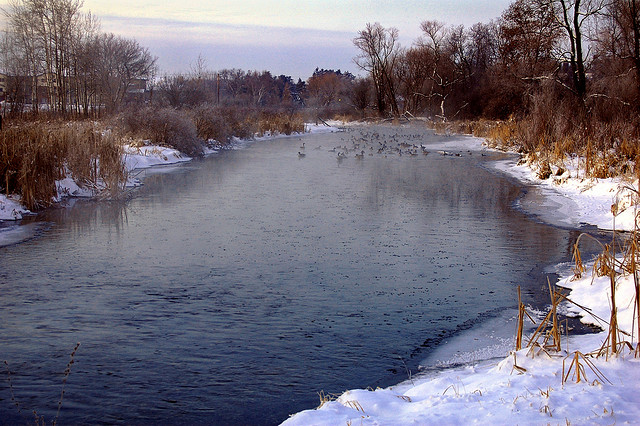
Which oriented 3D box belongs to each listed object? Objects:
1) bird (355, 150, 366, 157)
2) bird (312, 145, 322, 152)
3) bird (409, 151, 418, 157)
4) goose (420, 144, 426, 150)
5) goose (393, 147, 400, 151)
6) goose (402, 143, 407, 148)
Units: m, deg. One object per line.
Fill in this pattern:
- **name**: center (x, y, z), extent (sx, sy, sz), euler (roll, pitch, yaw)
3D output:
- **bird**: center (2.066, -2.916, 34.059), extent (0.513, 0.407, 0.637), euler (-1, 14, 0)
- **bird**: center (-0.200, -3.673, 38.445), extent (0.276, 0.442, 0.780), euler (-3, 28, 14)
- **bird**: center (4.555, -2.940, 33.865), extent (0.263, 0.109, 0.266), euler (33, 43, 30)
- **goose**: center (5.424, -3.475, 35.874), extent (0.209, 0.368, 0.636), euler (-3, 3, 5)
- **goose**: center (4.031, -3.334, 35.507), extent (0.262, 0.126, 0.348), euler (-1, -4, 11)
- **goose**: center (4.640, -3.708, 37.453), extent (0.156, 0.255, 0.115), euler (-2, 7, 9)
